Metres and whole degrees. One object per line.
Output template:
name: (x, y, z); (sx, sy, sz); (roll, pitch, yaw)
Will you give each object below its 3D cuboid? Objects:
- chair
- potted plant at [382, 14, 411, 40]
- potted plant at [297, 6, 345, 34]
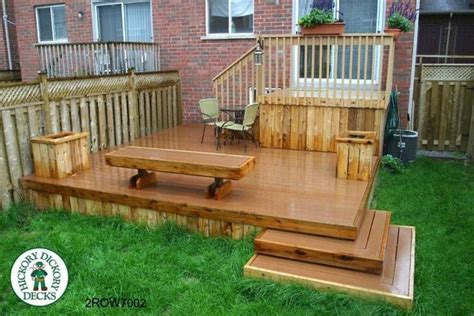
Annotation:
chair: (-0.230, -0.785, 8.211); (1.526, 1.108, 0.953); (6, 15, 28)
potted plant: (3.495, -2.906, 7.996); (0.454, 0.428, 0.388); (25, 26, 39)
potted plant: (1.628, -2.611, 7.088); (0.775, 0.491, 0.588); (2, 29, 10)
